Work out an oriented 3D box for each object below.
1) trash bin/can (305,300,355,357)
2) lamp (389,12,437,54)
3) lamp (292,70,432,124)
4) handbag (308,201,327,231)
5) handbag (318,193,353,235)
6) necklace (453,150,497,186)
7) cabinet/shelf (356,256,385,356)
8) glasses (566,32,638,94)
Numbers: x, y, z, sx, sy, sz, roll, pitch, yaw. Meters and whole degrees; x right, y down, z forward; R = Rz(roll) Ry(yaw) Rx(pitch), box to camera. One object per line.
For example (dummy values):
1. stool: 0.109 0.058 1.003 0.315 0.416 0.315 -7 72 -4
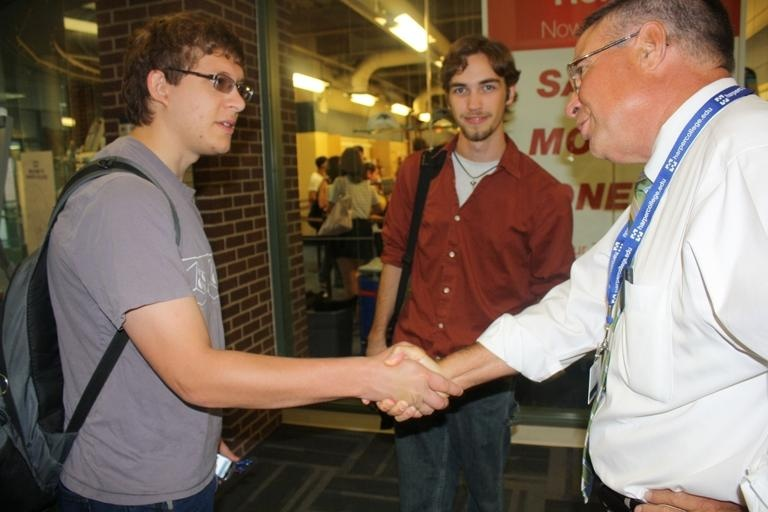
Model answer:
1. trash bin/can: -0.401 0.560 5.261 0.444 0.599 0.414 -1 -3 -2
2. lamp: 0.220 -1.640 4.738 0.380 0.209 0.079 44 21 3
3. lamp: -0.126 -1.215 4.808 0.809 0.140 0.128 22 10 9
4. handbag: -0.533 -0.327 5.083 0.141 0.214 0.064 0 0 8
5. handbag: -0.372 -0.341 5.031 0.265 0.336 0.106 7 10 34
6. necklace: 0.427 -0.420 3.061 0.176 0.142 0.052 10 -12 18
7. cabinet/shelf: -0.140 0.477 5.124 0.121 0.560 0.121 5 -6 -40
8. glasses: 0.756 -0.664 2.227 0.153 0.049 0.153 -32 2 6
